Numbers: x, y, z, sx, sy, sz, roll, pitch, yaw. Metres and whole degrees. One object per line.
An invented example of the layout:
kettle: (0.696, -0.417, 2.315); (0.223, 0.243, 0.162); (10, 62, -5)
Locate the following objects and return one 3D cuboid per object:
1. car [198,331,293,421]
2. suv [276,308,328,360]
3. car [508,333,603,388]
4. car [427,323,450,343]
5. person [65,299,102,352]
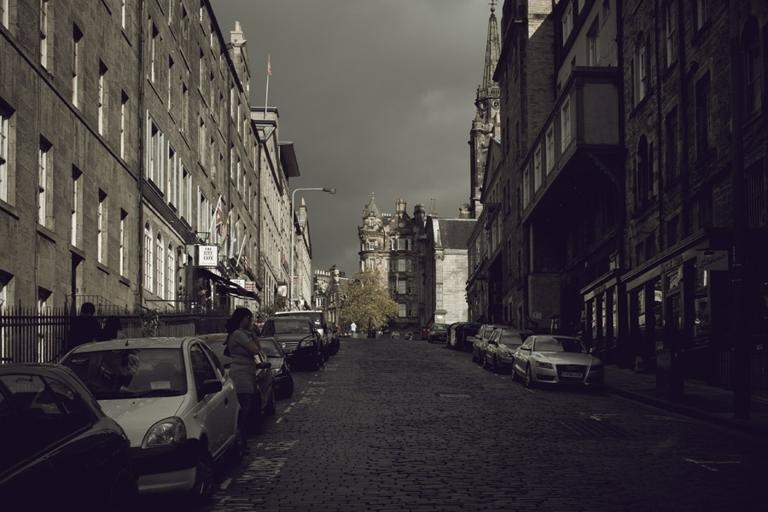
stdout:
car: (-3.168, 3.109, 25.444); (1.363, 1.288, 2.778); (-1, -13, 0)
suv: (-3.057, 2.750, 40.421); (1.324, 1.612, 2.590); (0, -15, 3)
car: (5.353, 3.181, 30.767); (2.083, 1.854, 2.825); (1, -12, -9)
car: (3.783, 5.236, 69.470); (0.996, 1.675, 3.056); (0, -12, -6)
person: (-7.390, 1.671, 24.497); (0.641, 1.043, 0.699); (-5, 0, -11)
